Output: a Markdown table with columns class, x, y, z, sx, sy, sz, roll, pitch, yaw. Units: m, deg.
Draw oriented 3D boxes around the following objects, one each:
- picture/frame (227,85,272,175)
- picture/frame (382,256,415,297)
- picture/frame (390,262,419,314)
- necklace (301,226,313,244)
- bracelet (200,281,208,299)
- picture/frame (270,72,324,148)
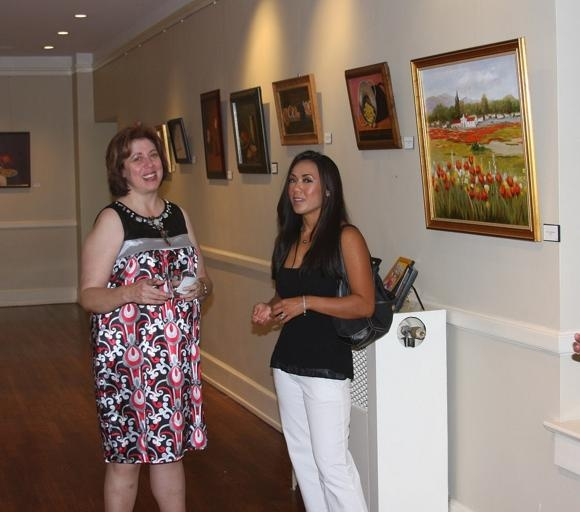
| class | x | y | z | sx | sy | sz | roll | pitch | yaw |
| --- | --- | --- | --- | --- | --- | --- | --- | --- | --- |
| picture/frame | -0.372 | -1.204 | 4.314 | 0.058 | 0.954 | 0.790 | -4 | 5 | -19 |
| picture/frame | 0.588 | 0.111 | 2.484 | 0.019 | 0.120 | 0.226 | 27 | 42 | -5 |
| picture/frame | 0.582 | 0.161 | 2.380 | 0.047 | 0.230 | 0.226 | 17 | 15 | 2 |
| necklace | 0.072 | -0.098 | 2.135 | 0.044 | 0.083 | 0.024 | -3 | -4 | 28 |
| bracelet | -0.407 | 0.159 | 2.180 | 0.020 | 0.072 | 0.045 | -3 | 3 | -6 |
| picture/frame | 0.049 | -1.144 | 3.615 | 0.041 | 0.492 | 0.444 | -25 | 24 | -38 |
